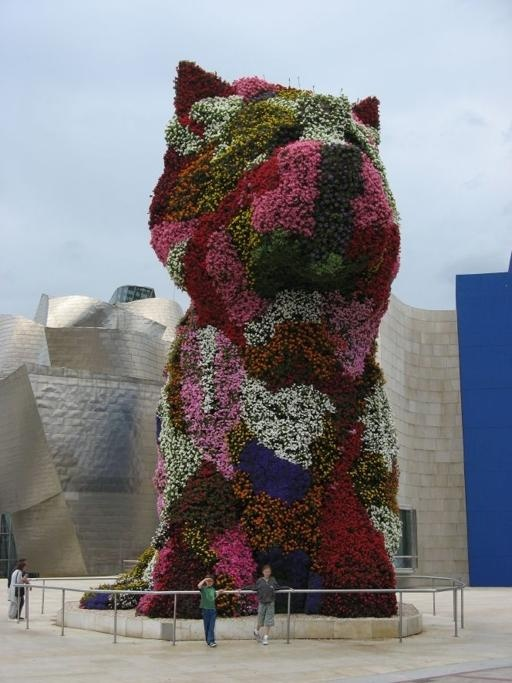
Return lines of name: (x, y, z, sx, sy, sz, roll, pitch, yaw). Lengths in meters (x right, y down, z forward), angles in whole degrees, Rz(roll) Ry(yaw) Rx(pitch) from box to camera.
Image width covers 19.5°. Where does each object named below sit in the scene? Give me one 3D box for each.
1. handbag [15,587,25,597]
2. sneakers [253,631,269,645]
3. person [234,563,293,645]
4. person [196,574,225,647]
handbag: (-4.658, 4.915, 29.463, 0.228, 0.222, 0.219, 2, -4, -13)
sneakers: (0.075, 4.987, 25.304, 0.125, 0.148, 0.358, 7, -10, -15)
person: (0.117, 4.453, 25.329, 0.465, 1.287, 0.588, -1, -8, 5)
person: (-0.804, 4.504, 25.057, 0.327, 1.161, 0.496, 0, -8, -2)
